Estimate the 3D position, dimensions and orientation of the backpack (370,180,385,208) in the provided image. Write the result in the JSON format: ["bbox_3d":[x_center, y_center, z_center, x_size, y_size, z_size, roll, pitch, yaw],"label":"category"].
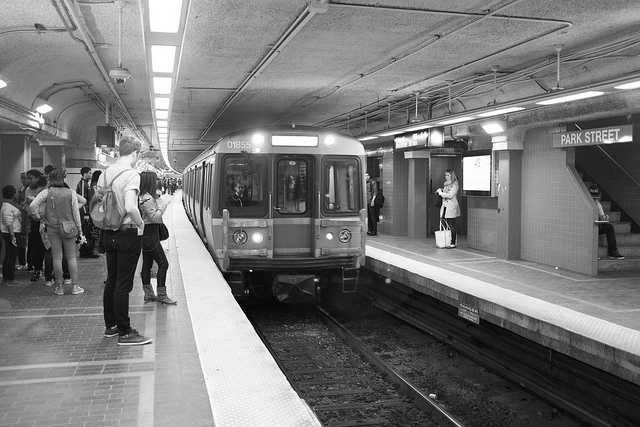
[{"bbox_3d":[2.467,-0.789,17.889,0.763,1.126,0.431,-4,6,-42],"label":"backpack"}]

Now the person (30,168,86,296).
[{"bbox_3d":[-4.833,0.348,7.940,0.749,2.303,0.386,0,5,-3],"label":"person"}]

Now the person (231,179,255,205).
[{"bbox_3d":[-1.783,-0.452,9.587,0.756,0.599,0.334,1,3,-15],"label":"person"}]

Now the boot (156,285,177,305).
[{"bbox_3d":[-2.515,1.370,7.178,0.460,0.332,0.175,1,0,-8],"label":"boot"}]

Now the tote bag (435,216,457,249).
[{"bbox_3d":[4.268,0.646,14.432,1.015,1.335,0.531,3,-6,-43],"label":"tote bag"}]

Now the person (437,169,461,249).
[{"bbox_3d":[4.294,-0.146,14.151,0.573,2.499,0.557,2,5,21],"label":"person"}]

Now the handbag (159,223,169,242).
[{"bbox_3d":[-2.656,0.306,7.307,0.119,0.308,0.369,-1,5,-18],"label":"handbag"}]

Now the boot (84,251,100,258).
[{"bbox_3d":[-6.308,1.099,11.888,0.363,0.196,0.389,-2,5,-33],"label":"boot"}]

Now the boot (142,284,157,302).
[{"bbox_3d":[-2.915,1.353,7.374,0.214,0.288,0.158,0,5,-10],"label":"boot"}]

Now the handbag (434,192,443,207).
[{"bbox_3d":[4.058,-0.491,14.610,0.268,0.443,0.666,2,5,15],"label":"handbag"}]

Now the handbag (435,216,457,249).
[{"bbox_3d":[4.287,0.642,14.477,1.027,1.360,0.566,2,-5,-38],"label":"handbag"}]

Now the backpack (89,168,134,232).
[{"bbox_3d":[-2.713,-0.157,5.646,0.459,0.805,0.668,2,6,-43],"label":"backpack"}]

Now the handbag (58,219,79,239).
[{"bbox_3d":[-4.634,0.270,7.885,0.198,0.341,0.349,-8,-3,41],"label":"handbag"}]
